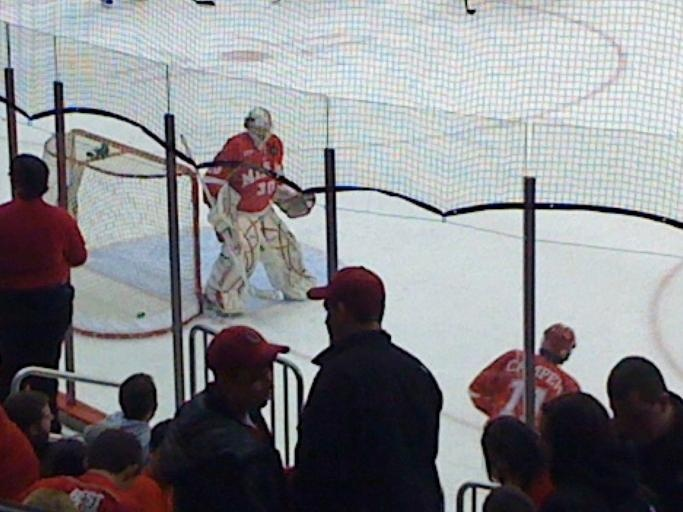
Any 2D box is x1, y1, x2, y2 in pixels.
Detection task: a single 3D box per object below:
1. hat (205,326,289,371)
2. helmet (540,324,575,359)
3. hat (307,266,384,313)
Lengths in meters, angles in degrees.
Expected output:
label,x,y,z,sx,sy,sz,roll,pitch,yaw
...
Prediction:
label,x,y,z,sx,sy,sz,roll,pitch,yaw
hat,-0.595,0.551,7.639,0.392,0.184,0.248,-5,1,1
helmet,1.518,0.596,8.791,0.240,0.223,0.180,24,-1,-4
hat,0.042,0.206,7.811,0.366,0.208,0.253,17,2,11
